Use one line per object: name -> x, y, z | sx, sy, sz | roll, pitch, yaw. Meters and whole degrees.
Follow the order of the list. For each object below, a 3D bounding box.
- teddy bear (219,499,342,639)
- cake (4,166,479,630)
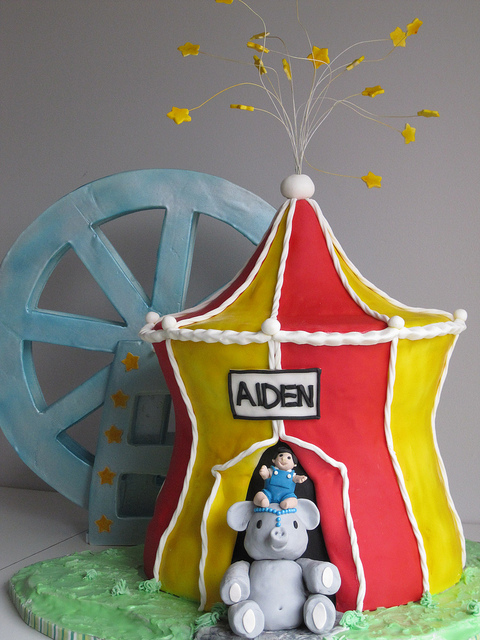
teddy bear -> 0.065, 0.531, 1.693 | 0.369, 0.357, 0.242 | 1, -15, -5
cake -> -0.101, 0.119, 2.261 | 1.416, 0.898, 1.330 | 0, -2, 6
